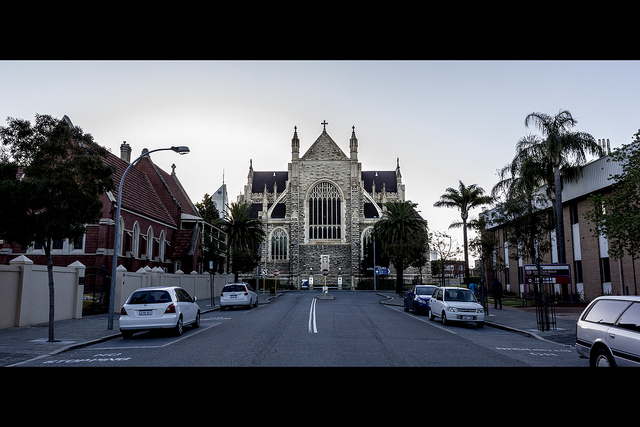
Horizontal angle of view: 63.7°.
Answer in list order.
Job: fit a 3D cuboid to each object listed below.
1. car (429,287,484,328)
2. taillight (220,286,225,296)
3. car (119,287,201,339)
[{"bbox_3d":[6.964,4.701,25.985,2.196,2.049,2.619,-1,-11,6],"label":"car"},{"bbox_3d":[-6.467,5.225,34.362,0.197,0.551,0.311,0,-10,-4],"label":"taillight"},{"bbox_3d":[-6.400,4.039,21.179,1.922,2.116,3.132,-4,-12,22],"label":"car"}]
